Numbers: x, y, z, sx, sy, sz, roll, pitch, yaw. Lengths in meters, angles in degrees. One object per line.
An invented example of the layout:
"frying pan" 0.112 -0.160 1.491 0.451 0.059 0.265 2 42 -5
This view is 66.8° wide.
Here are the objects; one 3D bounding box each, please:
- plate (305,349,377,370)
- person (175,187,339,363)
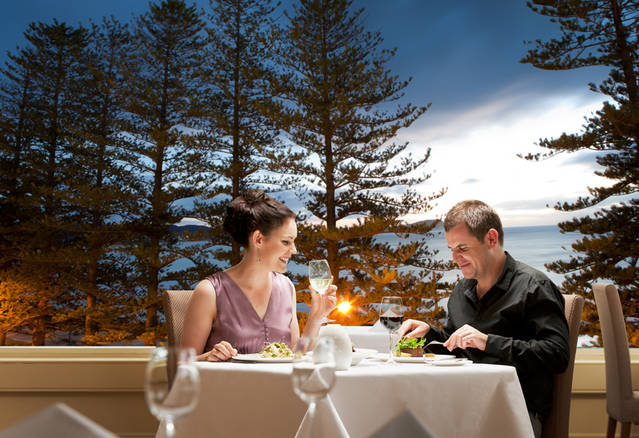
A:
"plate" 0.080 0.569 1.956 0.144 0.040 0.154 -5 -3 26
"person" -0.392 0.606 2.844 0.791 1.469 0.556 8 -6 -23
